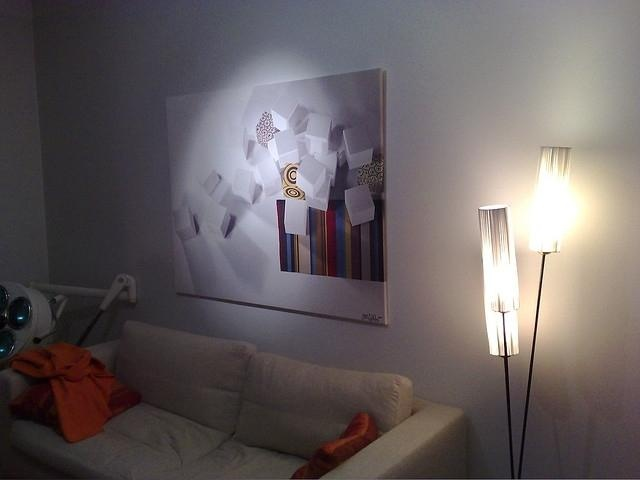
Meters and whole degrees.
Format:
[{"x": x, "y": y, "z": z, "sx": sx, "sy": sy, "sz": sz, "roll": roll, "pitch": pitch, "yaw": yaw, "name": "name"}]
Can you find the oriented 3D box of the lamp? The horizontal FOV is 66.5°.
[{"x": 0.923, "y": 0.379, "z": 2.263, "sx": 0.385, "sy": 1.235, "sz": 0.346, "roll": 5, "pitch": 3, "yaw": 24, "name": "lamp"}]
